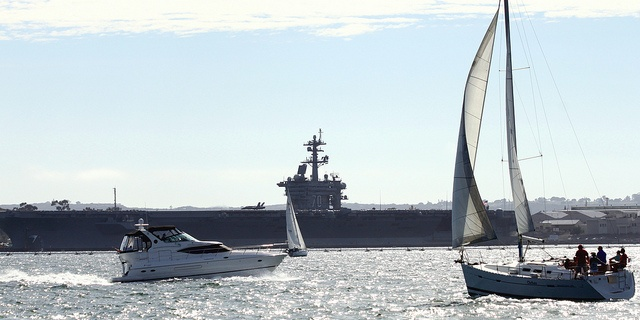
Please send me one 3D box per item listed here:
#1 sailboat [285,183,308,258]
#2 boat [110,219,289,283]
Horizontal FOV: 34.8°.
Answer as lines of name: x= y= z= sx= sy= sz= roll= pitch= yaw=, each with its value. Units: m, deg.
sailboat: x=-3.088 y=8.593 z=136.078 sx=4.591 sy=9.251 sz=3.476 roll=2 pitch=-1 yaw=-33
boat: x=-13.940 y=10.030 z=110.446 sx=14.908 sy=5.792 sz=1.321 roll=-2 pitch=-2 yaw=-3
